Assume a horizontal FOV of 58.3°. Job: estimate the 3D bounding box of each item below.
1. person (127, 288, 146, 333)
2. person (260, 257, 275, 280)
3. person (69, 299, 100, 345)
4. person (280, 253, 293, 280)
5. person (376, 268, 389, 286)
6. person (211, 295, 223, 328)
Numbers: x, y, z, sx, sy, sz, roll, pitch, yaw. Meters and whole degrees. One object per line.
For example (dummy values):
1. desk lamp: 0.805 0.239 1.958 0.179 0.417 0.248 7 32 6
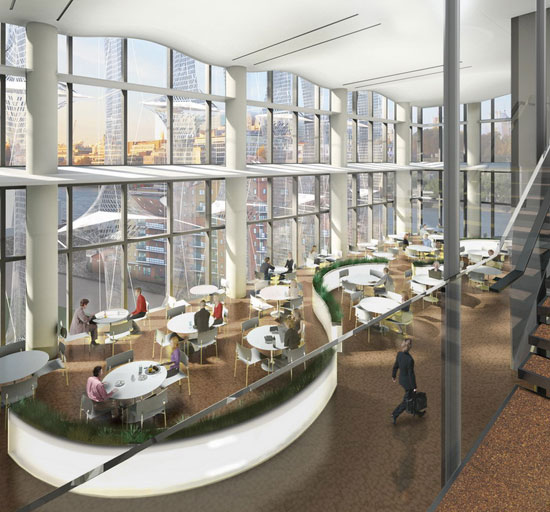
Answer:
1. person: -3.049 1.213 10.836 0.397 0.960 0.303 1 -3 -10
2. person: -0.265 0.358 13.726 0.376 0.616 0.971 -2 7 7
3. person: -3.867 1.296 10.005 0.482 1.023 1.156 -4 7 -13
4. person: 0.314 0.351 14.326 0.383 0.659 0.740 -2 7 9
5. person: 2.902 0.551 13.254 0.259 0.550 0.928 -1 7 12
6. person: -1.215 1.201 10.282 0.243 0.524 1.062 -4 7 -7
